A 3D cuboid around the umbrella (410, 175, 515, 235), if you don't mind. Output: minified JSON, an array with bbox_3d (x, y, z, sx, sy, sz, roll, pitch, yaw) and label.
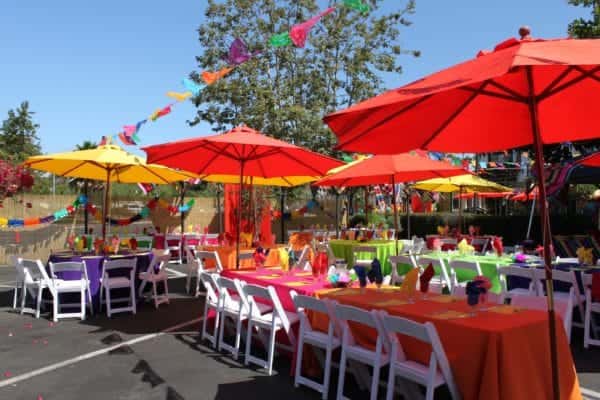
[{"bbox_3d":[4.585,-0.109,15.416,1.916,1.399,2.089,1,-1,-9],"label":"umbrella"}]

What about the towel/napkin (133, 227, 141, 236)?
[{"bbox_3d":[-5.480,1.039,18.363,0.259,0.242,0.266,0,-10,-41],"label":"towel/napkin"}]

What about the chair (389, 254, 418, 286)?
[{"bbox_3d":[2.088,1.404,11.441,0.521,0.833,0.613,3,10,28],"label":"chair"}]

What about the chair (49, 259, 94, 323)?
[{"bbox_3d":[-4.528,1.730,10.816,0.771,1.172,0.776,-1,9,-5],"label":"chair"}]

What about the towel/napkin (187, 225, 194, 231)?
[{"bbox_3d":[-3.973,0.986,19.826,0.259,0.258,0.270,-5,-9,24],"label":"towel/napkin"}]

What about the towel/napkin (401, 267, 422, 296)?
[{"bbox_3d":[1.633,1.187,8.046,0.218,0.504,0.116,19,9,25],"label":"towel/napkin"}]

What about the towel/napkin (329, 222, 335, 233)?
[{"bbox_3d":[1.292,1.133,22.712,0.148,0.221,0.363,-7,6,0],"label":"towel/napkin"}]

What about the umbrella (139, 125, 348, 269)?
[{"bbox_3d":[-1.179,-0.133,10.903,3.449,2.659,1.958,-1,9,-6],"label":"umbrella"}]

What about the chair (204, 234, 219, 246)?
[{"bbox_3d":[-2.577,1.156,15.913,0.366,0.514,0.371,3,0,-16],"label":"chair"}]

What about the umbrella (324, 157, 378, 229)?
[{"bbox_3d":[1.701,-0.131,22.707,2.170,2.068,2.299,-4,6,-8],"label":"umbrella"}]

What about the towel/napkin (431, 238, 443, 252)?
[{"bbox_3d":[3.225,1.054,12.937,0.253,0.319,0.228,-5,-37,14],"label":"towel/napkin"}]

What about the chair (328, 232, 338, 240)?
[{"bbox_3d":[1.095,1.192,18.482,0.273,0.368,0.260,0,-8,-6],"label":"chair"}]

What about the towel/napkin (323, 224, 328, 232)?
[{"bbox_3d":[1.120,1.161,24.118,0.196,0.187,0.202,-1,3,-16],"label":"towel/napkin"}]

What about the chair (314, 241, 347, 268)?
[{"bbox_3d":[0.702,1.236,12.818,0.695,0.973,0.574,-1,-2,-2],"label":"chair"}]

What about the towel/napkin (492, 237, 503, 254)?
[{"bbox_3d":[4.020,0.922,11.190,0.192,0.394,0.401,-2,-18,17],"label":"towel/napkin"}]

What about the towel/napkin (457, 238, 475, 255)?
[{"bbox_3d":[3.675,1.042,12.010,0.433,0.347,0.388,3,-5,4],"label":"towel/napkin"}]

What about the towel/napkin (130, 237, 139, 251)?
[{"bbox_3d":[-3.784,0.994,12.465,0.136,0.270,0.355,-4,10,-22],"label":"towel/napkin"}]

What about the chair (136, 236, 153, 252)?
[{"bbox_3d":[-3.887,1.092,13.661,0.272,0.488,0.313,1,-5,-15],"label":"chair"}]

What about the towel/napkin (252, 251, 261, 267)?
[{"bbox_3d":[-0.774,1.097,10.293,0.232,0.259,0.088,-2,10,24],"label":"towel/napkin"}]

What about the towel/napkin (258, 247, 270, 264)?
[{"bbox_3d":[-0.753,1.028,10.317,0.273,0.288,0.114,14,-10,-29],"label":"towel/napkin"}]

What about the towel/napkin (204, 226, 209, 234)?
[{"bbox_3d":[-3.605,1.141,21.193,0.204,0.226,0.199,7,-11,-38],"label":"towel/napkin"}]

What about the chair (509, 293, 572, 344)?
[{"bbox_3d":[3.497,1.520,7.978,0.866,0.878,0.742,-1,0,27],"label":"chair"}]

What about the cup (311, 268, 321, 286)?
[{"bbox_3d":[0.253,1.252,9.110,0.189,0.311,0.201,0,-8,0],"label":"cup"}]

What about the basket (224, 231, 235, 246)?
[{"bbox_3d":[-1.753,0.958,13.596,0.204,0.283,0.634,-2,-19,-7],"label":"basket"}]

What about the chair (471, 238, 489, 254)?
[{"bbox_3d":[4.620,1.180,14.162,0.297,0.554,0.371,1,4,4],"label":"chair"}]

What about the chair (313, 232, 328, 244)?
[{"bbox_3d":[0.637,1.171,17.627,0.282,0.504,0.360,-1,-5,2],"label":"chair"}]

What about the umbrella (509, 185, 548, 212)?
[{"bbox_3d":[8.109,-0.020,19.724,1.413,0.720,1.528,1,-5,-1],"label":"umbrella"}]
